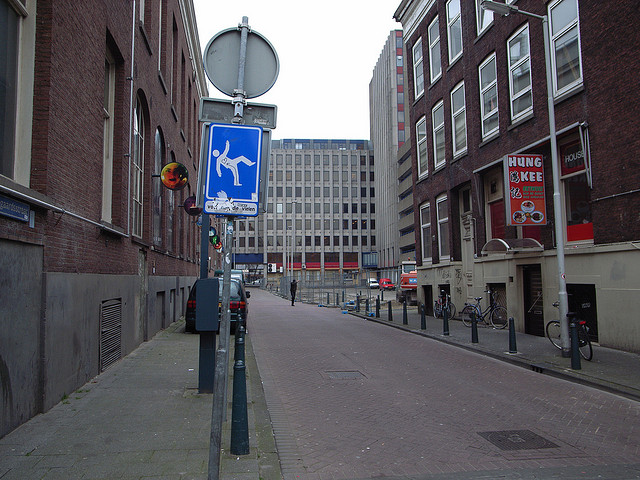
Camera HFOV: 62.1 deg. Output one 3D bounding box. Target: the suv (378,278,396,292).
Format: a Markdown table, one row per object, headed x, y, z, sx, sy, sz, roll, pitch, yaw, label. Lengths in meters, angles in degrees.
| x | y | z | sx | sy | sz | roll | pitch | yaw | label |
| --- | --- | --- | --- | --- | --- | --- | --- | --- | --- |
| 7.064 | 4.752 | 55.805 | 1.562 | 1.660 | 2.920 | 1 | -13 | -14 | suv |

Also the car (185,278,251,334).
| x | y | z | sx | sy | sz | roll | pitch | yaw | label |
| --- | --- | --- | --- | --- | --- | --- | --- | --- | --- |
| -3.106 | 2.035 | 16.041 | 1.633 | 1.618 | 3.397 | 0 | -1 | -4 | car |

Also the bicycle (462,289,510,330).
| x | y | z | sx | sy | sz | roll | pitch | yaw | label |
| --- | --- | --- | --- | --- | --- | --- | --- | --- | --- |
| 5.888 | 2.518 | 18.962 | 1.776 | 1.262 | 0.756 | -4 | -17 | 44 | bicycle |

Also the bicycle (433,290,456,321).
| x | y | z | sx | sy | sz | roll | pitch | yaw | label |
| --- | --- | --- | --- | --- | --- | --- | --- | --- | --- |
| 5.299 | 2.675 | 22.543 | 0.896 | 1.330 | 3.942 | -2 | -8 | 12 | bicycle |

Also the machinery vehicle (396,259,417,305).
| x | y | z | sx | sy | sz | roll | pitch | yaw | label |
| --- | --- | --- | --- | --- | --- | --- | --- | --- | --- |
| 5.837 | 2.720 | 35.261 | 1.500 | 2.690 | 4.973 | -1 | -2 | 4 | machinery vehicle |
